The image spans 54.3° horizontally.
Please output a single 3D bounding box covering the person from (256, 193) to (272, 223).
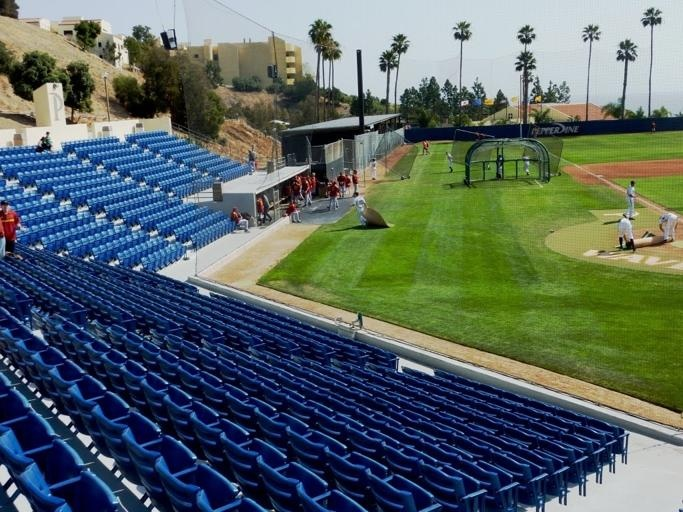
[{"bbox_3d":[-3.702,-2.310,31.516,0.705,1.138,2.268,-1,15,-7],"label":"person"}]

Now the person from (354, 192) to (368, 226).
[{"bbox_3d":[0.854,-2.045,29.438,0.498,1.308,1.404,0,15,-3],"label":"person"}]

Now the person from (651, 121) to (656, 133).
[{"bbox_3d":[29.311,-12.216,62.239,0.435,1.018,0.877,7,16,20],"label":"person"}]

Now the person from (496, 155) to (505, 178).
[{"bbox_3d":[9.734,-5.524,40.796,0.480,1.371,2.360,5,15,13],"label":"person"}]

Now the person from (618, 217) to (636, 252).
[{"bbox_3d":[10.146,-0.897,23.794,0.583,1.652,0.536,-6,-28,26],"label":"person"}]
